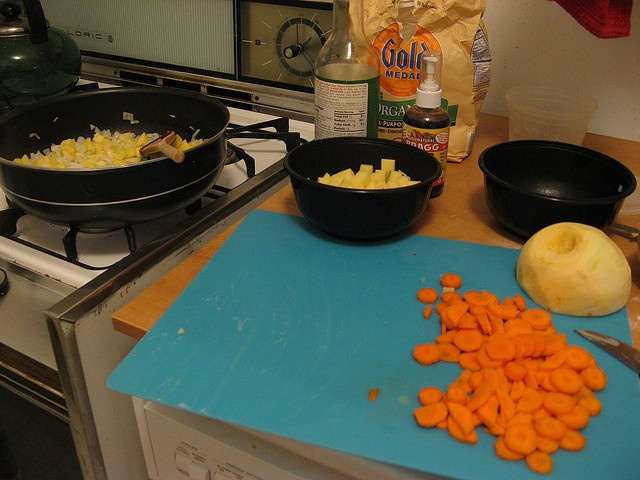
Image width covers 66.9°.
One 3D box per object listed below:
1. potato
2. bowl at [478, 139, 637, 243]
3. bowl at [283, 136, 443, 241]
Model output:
[{"bbox_3d":[0.370,0.038,0.720,0.149,0.079,0.139,-27,62,10],"label":"potato"},{"bbox_3d":[0.400,-0.088,0.861,0.221,0.109,0.227,-4,34,2],"label":"bowl"},{"bbox_3d":[0.069,-0.088,0.852,0.219,0.092,0.222,-1,30,1],"label":"bowl"}]
